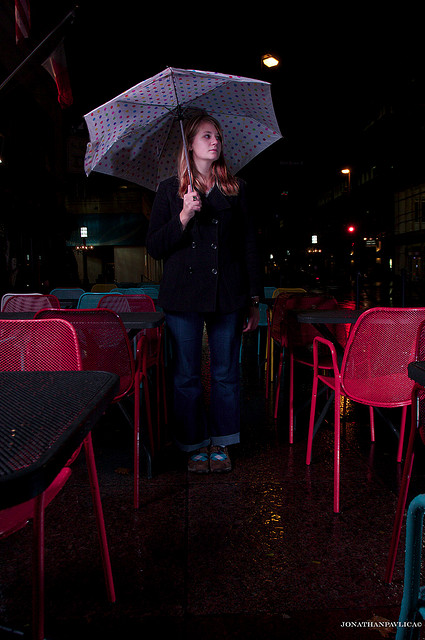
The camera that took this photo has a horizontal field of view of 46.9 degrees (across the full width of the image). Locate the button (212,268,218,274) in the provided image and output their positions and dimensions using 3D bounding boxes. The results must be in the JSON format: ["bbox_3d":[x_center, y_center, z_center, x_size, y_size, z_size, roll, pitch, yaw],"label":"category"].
[{"bbox_3d":[0.010,-0.325,3.215,0.032,0.037,0.010,2,1,5],"label":"button"}]

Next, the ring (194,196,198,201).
[{"bbox_3d":[-0.097,-0.703,2.824,0.022,0.025,0.006,-3,4,-42],"label":"ring"}]

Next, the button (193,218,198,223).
[{"bbox_3d":[-0.114,-0.664,3.240,0.034,0.025,0.008,-1,-1,15],"label":"button"}]

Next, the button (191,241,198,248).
[{"bbox_3d":[-0.122,-0.502,3.244,0.034,0.032,0.051,8,-13,-22],"label":"button"}]

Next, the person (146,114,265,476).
[{"bbox_3d":[-0.032,-0.165,3.381,0.824,2.437,0.435,-2,3,-30],"label":"person"}]

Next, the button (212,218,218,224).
[{"bbox_3d":[0.012,-0.658,3.250,0.034,0.037,0.009,5,0,-9],"label":"button"}]

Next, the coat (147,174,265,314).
[{"bbox_3d":[-0.032,-0.520,3.330,0.817,0.952,0.478,-1,3,-6],"label":"coat"}]

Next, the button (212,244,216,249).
[{"bbox_3d":[0.008,-0.492,3.233,0.027,0.031,0.008,20,4,4],"label":"button"}]

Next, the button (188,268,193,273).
[{"bbox_3d":[-0.145,-0.331,3.220,0.041,0.030,0.010,-1,-4,6],"label":"button"}]
